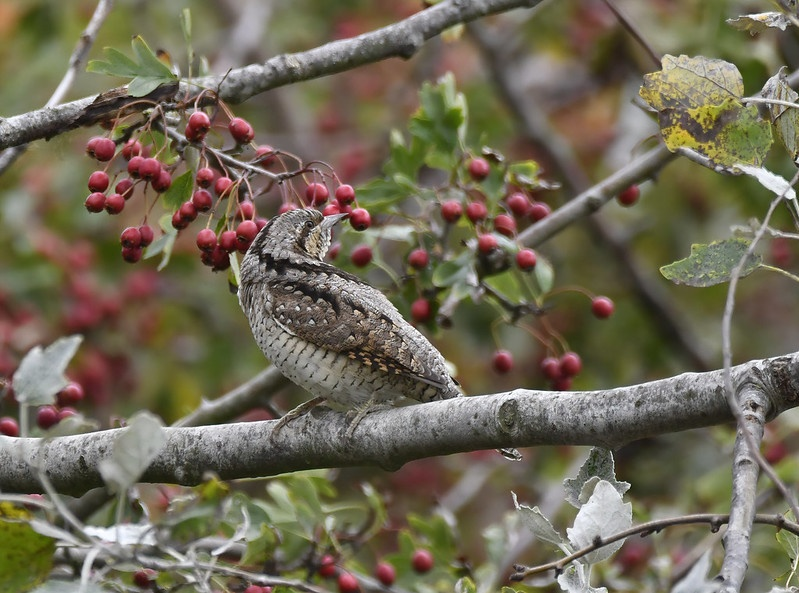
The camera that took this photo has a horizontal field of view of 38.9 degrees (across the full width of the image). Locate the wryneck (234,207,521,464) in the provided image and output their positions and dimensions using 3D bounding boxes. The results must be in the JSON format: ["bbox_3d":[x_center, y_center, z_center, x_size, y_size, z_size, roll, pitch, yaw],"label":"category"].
[{"bbox_3d":[-0.052,0.243,5.334,1.327,0.843,1.151,7,79,-3],"label":"wryneck"}]
